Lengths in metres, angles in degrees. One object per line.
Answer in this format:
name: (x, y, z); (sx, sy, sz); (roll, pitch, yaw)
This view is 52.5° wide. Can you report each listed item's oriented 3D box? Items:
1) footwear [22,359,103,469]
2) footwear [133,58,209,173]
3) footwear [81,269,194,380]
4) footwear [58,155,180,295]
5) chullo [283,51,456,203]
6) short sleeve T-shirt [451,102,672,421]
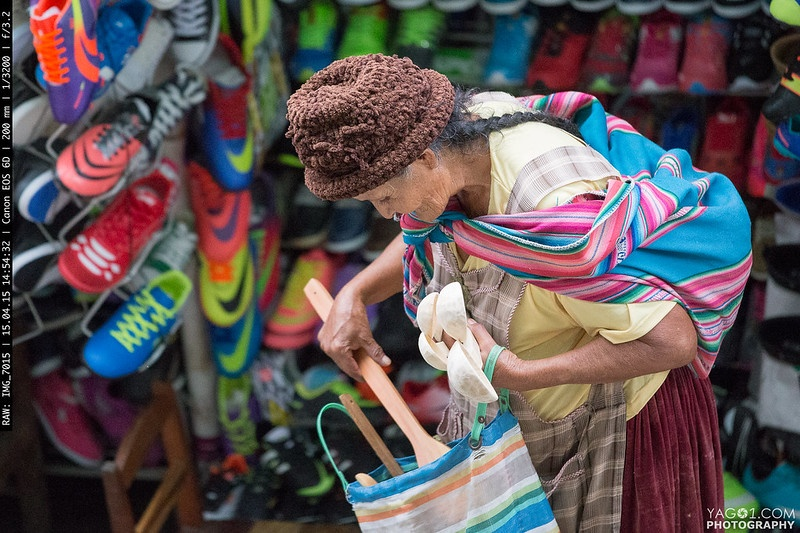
footwear: (-0.944, 0.420, 2.343); (0.112, 0.354, 0.132); (-34, 11, -14)
footwear: (-0.616, -0.412, 2.267); (0.359, 0.121, 0.138); (-56, 22, 8)
footwear: (-0.737, 0.167, 2.352); (0.365, 0.169, 0.139); (-49, 11, -19)
footwear: (-0.758, -0.092, 2.301); (0.500, 0.176, 0.185); (-56, 12, -6)
chullo: (-0.065, -0.271, 1.734); (0.285, 0.135, 0.319); (15, 70, 34)
short sleeve T-shirt: (0.405, 0.063, 1.825); (0.313, 0.929, 0.333); (-39, 31, -20)
